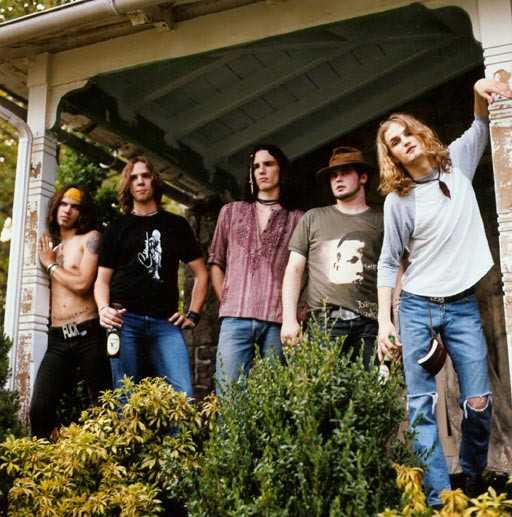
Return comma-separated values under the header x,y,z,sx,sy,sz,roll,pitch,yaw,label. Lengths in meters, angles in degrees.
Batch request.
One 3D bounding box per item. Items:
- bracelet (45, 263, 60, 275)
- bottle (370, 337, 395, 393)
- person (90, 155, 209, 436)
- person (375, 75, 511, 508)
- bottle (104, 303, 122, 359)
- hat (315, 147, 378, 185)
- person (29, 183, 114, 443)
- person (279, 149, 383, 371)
x,y,z,sx,sy,sz,roll,pitch,yaw,label
-1.339,0.064,4.419,0.076,0.037,0.063,-51,-23,10,bracelet
0.570,0.480,3.037,0.058,0.058,0.205,-18,16,10,bottle
-0.658,0.074,4.270,0.726,1.550,0.550,0,-11,-15,person
0.920,0.105,3.294,0.694,2.038,0.489,-4,-11,9,person
-0.859,0.426,4.046,0.077,0.335,0.156,0,-11,-12,bottle
0.583,-0.643,4.334,0.353,0.142,0.326,6,14,10,hat
-1.249,0.456,4.513,0.467,1.889,0.462,-3,17,-17,person
0.436,-0.072,3.934,0.632,1.399,0.645,-4,-11,4,person
